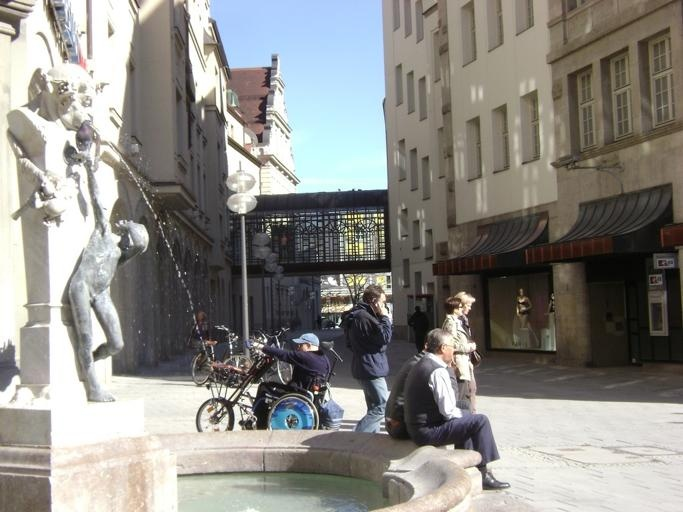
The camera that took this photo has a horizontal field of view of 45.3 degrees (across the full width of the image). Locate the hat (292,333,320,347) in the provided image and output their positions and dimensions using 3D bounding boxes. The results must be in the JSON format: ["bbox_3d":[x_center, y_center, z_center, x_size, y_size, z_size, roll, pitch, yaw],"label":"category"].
[{"bbox_3d":[-0.479,1.124,11.045,0.319,0.158,0.233,6,-6,2],"label":"hat"}]

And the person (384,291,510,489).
[{"bbox_3d":[1.153,1.437,9.118,0.883,2.004,1.028,2,2,-4],"label":"person"}]

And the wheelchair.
[{"bbox_3d":[-0.961,1.744,11.114,1.732,1.313,1.128,1,-8,10],"label":"wheelchair"}]

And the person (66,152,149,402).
[{"bbox_3d":[-1.993,0.183,6.889,0.393,2.045,0.671,-3,-4,28],"label":"person"}]
